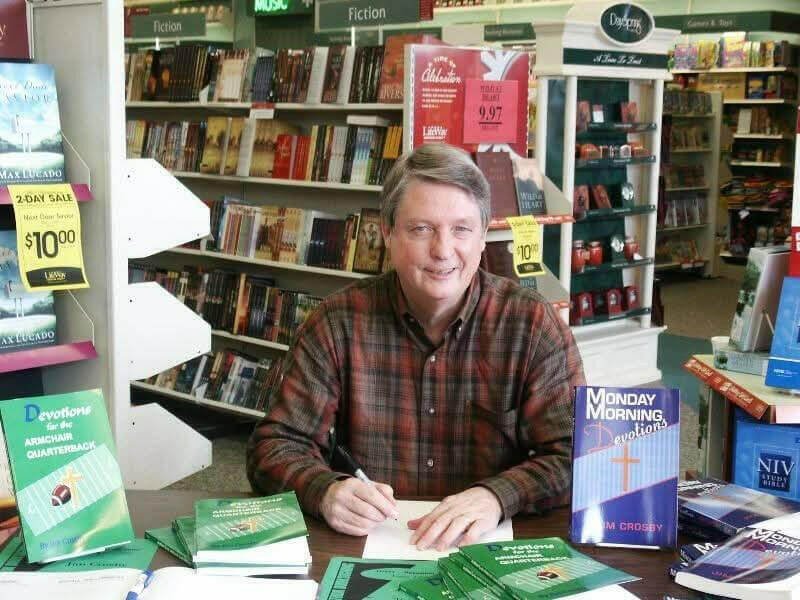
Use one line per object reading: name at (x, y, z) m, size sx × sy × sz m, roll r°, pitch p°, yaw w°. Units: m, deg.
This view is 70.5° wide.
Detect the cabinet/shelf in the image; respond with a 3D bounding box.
cabinet/shelf at (-0.018, -0.473, 3.835) m, size 3.983 × 1.537 × 3.974 m, roll 8°, pitch 11°, yaw 40°
